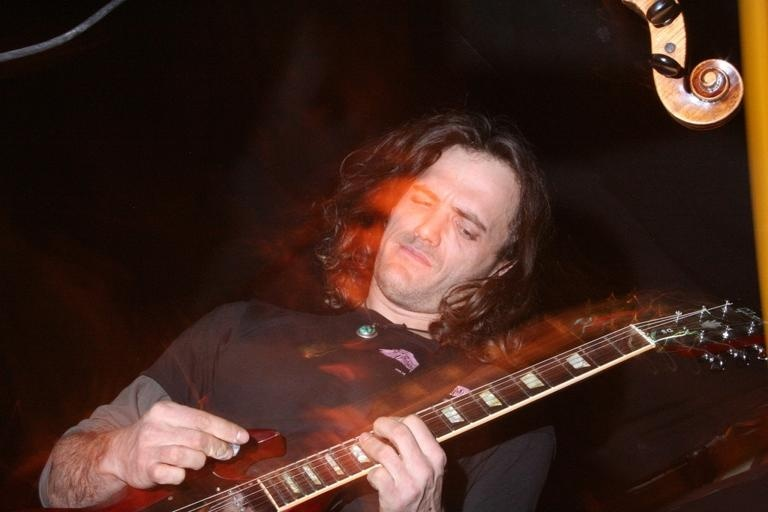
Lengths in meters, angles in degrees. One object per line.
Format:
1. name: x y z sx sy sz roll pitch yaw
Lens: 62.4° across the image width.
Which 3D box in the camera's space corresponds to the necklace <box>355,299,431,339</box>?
1. necklace: 0.045 0.285 2.842 0.252 0.090 0.174 16 34 -26
